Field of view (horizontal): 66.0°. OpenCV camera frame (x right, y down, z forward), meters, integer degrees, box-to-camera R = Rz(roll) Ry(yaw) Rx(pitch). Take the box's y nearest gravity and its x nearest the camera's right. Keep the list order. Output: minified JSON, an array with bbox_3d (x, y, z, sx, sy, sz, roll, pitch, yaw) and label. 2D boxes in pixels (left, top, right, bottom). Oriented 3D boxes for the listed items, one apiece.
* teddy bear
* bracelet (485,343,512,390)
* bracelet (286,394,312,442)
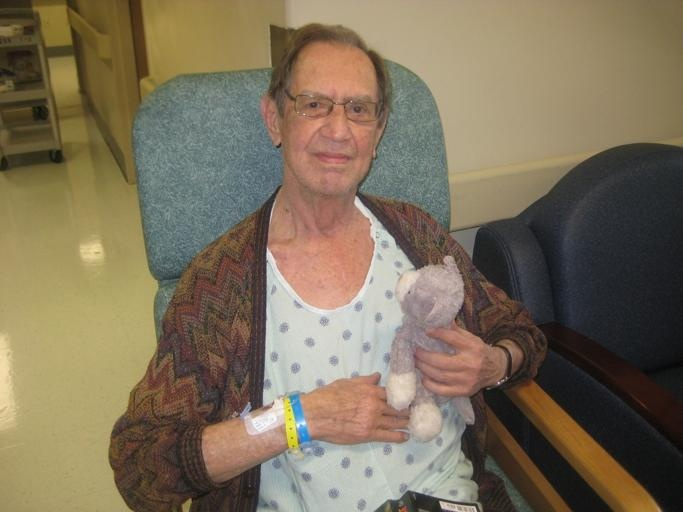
[{"bbox_3d":[0.274,0.309,1.583,0.307,0.605,0.227,-3,25,-9],"label":"teddy bear"},{"bbox_3d":[0.530,0.367,1.763,0.036,0.133,0.113,11,-18,-33],"label":"bracelet"},{"bbox_3d":[-0.140,0.474,1.541,0.024,0.112,0.101,-11,27,-2],"label":"bracelet"}]
